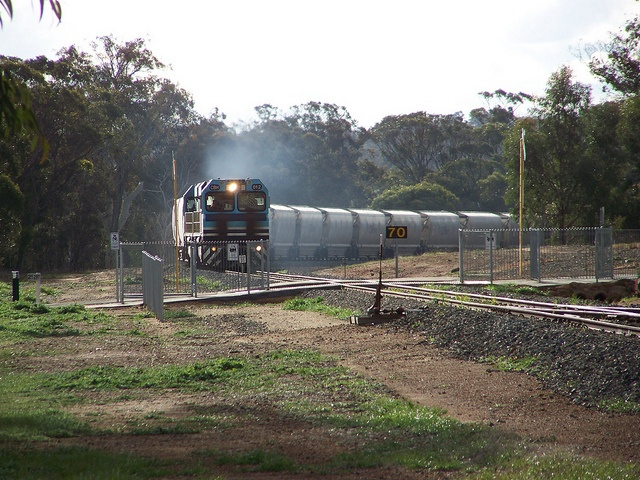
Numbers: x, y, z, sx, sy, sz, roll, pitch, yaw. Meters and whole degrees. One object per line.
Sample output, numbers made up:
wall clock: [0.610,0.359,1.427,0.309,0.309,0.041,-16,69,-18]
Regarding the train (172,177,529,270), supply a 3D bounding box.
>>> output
train: [0.971,-0.849,49.881,17.608,3.960,3.355,4,1,27]
